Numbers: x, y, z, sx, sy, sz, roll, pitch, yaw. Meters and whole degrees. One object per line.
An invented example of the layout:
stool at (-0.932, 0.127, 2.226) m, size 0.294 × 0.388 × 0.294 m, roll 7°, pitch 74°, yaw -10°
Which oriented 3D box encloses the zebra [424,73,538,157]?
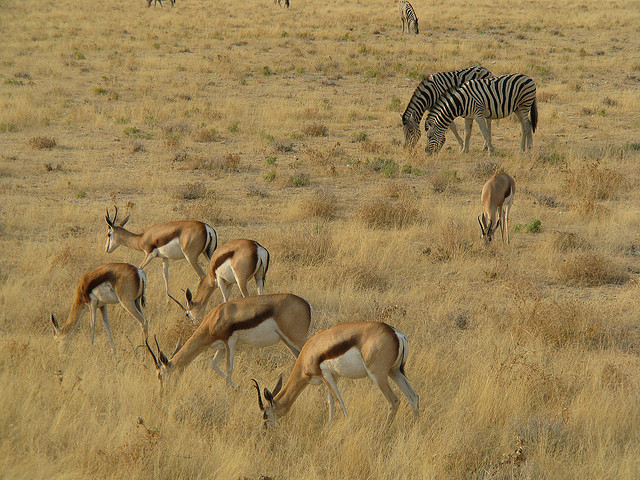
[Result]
zebra at (5.464, -4.235, 31.512) m, size 3.699 × 2.123 × 2.560 m, roll -3°, pitch 27°, yaw 1°

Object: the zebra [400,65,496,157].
zebra at (4.806, -4.610, 33.625) m, size 4.487 × 3.069 × 0.978 m, roll -7°, pitch 15°, yaw 40°
